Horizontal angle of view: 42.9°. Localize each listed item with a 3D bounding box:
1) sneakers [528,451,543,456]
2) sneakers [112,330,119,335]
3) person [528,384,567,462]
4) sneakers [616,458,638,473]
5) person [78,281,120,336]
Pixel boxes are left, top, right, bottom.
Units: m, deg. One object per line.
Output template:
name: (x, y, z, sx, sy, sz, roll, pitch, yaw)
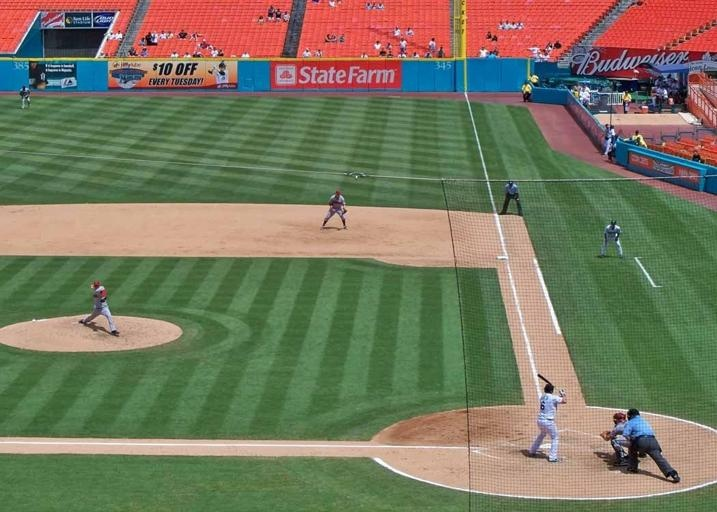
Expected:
sneakers: (5.077, 5.648, 26.272, 0.416, 0.177, 0.099, -5, 38, -2)
sneakers: (-9.007, 2.828, 33.641, 0.161, 0.203, 0.224, 5, 35, -1)
person: (5.426, 4.719, 25.984, 0.822, 2.156, 1.170, 6, 20, -2)
sneakers: (7.479, 5.873, 25.664, 0.692, 0.202, 0.225, 8, 16, 31)
person: (-9.591, 1.807, 33.661, 1.260, 2.144, 1.586, -1, 21, -19)
